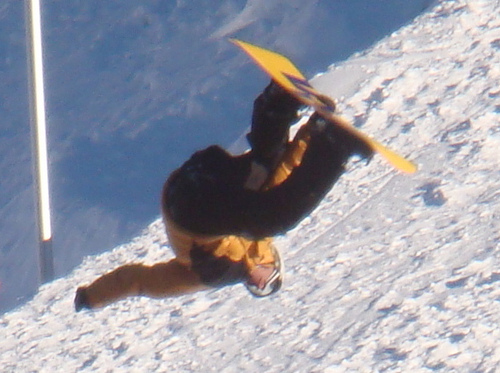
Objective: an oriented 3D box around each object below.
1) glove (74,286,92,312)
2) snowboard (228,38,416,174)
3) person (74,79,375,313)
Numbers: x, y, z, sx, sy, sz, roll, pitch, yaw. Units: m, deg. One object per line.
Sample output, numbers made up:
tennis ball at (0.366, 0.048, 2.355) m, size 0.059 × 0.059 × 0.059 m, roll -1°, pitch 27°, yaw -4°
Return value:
glove at (-0.723, 0.488, 5.299) m, size 0.023 × 0.094 × 0.088 m, roll 7°, pitch 97°, yaw 31°
snowboard at (0.371, -0.293, 5.330) m, size 0.100 × 0.891 × 0.235 m, roll -45°, pitch 6°, yaw 32°
person at (-0.139, 0.148, 5.160) m, size 1.381 × 0.589 × 0.705 m, roll -18°, pitch 40°, yaw -5°
